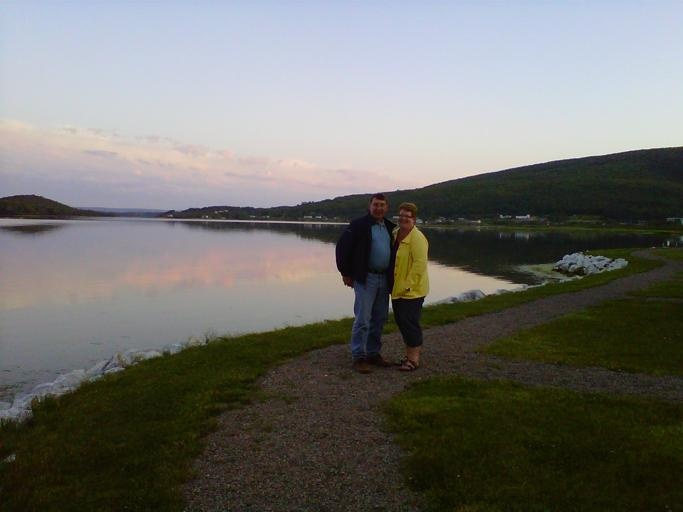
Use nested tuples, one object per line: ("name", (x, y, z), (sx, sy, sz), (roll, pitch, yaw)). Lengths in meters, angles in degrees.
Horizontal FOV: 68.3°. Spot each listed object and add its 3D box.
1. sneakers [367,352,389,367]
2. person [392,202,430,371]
("sneakers", (0.963, 2.464, 11.919), (0.696, 0.288, 0.235), (0, 3, 21))
("person", (1.592, 0.691, 11.623), (0.870, 3.810, 1.235), (-4, 5, 8))
